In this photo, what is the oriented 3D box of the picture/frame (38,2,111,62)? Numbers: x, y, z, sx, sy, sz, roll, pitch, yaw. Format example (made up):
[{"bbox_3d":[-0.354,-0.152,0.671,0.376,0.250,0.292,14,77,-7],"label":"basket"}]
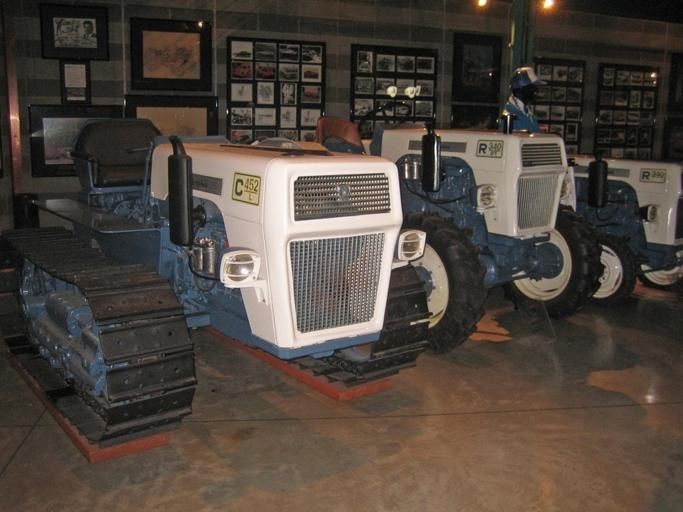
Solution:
[{"bbox_3d":[-3.024,-2.535,5.971,0.799,0.596,0.071,-2,5,-23],"label":"picture/frame"}]

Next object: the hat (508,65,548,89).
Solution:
[{"bbox_3d":[1.646,-1.631,4.870,0.413,0.194,0.285,-6,25,1],"label":"hat"}]
